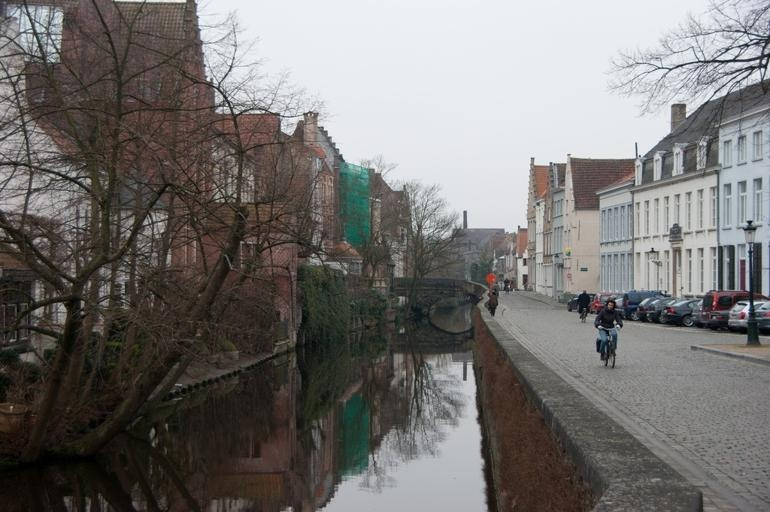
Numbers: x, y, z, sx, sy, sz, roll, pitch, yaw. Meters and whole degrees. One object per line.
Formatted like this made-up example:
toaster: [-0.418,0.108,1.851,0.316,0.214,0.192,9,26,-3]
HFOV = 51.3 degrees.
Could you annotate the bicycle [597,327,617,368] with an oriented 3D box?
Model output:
bicycle: [6.463,2.642,23.200,0.471,1.093,1.001,1,-2,15]
